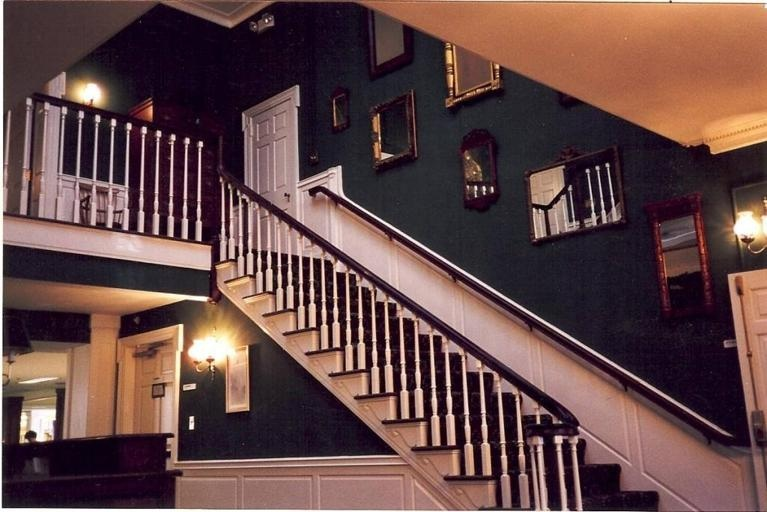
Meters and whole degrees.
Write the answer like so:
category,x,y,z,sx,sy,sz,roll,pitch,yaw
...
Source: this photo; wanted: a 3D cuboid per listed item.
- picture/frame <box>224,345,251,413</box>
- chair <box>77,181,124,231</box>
category,x,y,z,sx,sy,sz,roll,pitch,yaw
picture/frame,-1.603,1.358,8.148,0.347,0.714,0.069,-11,-13,31
chair,-3.209,-0.551,8.366,0.500,0.654,0.475,5,-17,-37
